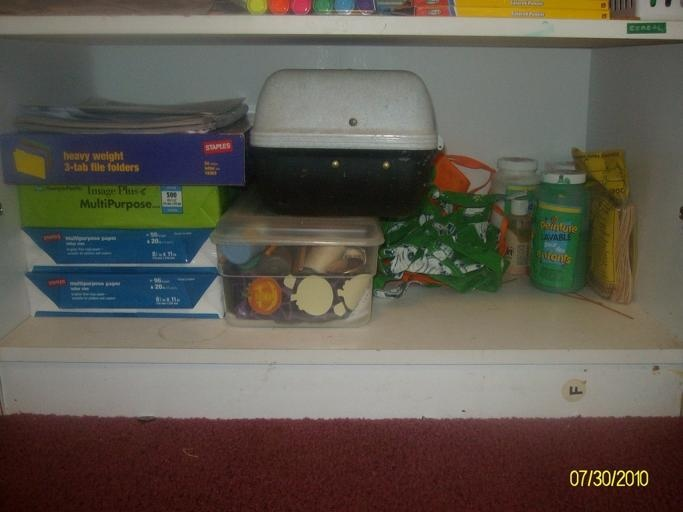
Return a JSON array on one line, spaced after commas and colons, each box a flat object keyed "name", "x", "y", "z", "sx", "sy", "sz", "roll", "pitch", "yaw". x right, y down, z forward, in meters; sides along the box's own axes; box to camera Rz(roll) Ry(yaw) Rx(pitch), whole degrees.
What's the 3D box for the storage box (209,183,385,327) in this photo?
[{"name": "storage box", "x": -0.091, "y": -0.006, "z": 1.154, "sx": 0.248, "sy": 0.145, "sz": 0.245, "roll": 1, "pitch": 15, "yaw": -1}]
